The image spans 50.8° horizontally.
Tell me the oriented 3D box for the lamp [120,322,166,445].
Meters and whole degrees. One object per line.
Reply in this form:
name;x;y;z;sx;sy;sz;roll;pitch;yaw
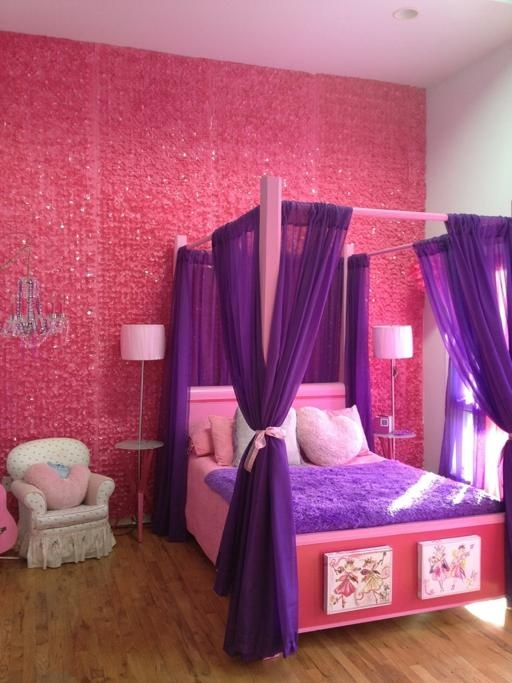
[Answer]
lamp;-0.819;0.333;3.856;0.329;0.920;0.532;1;-3;-11

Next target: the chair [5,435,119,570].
chair;-1.272;0.979;3.626;0.625;0.915;0.650;2;-4;-38
